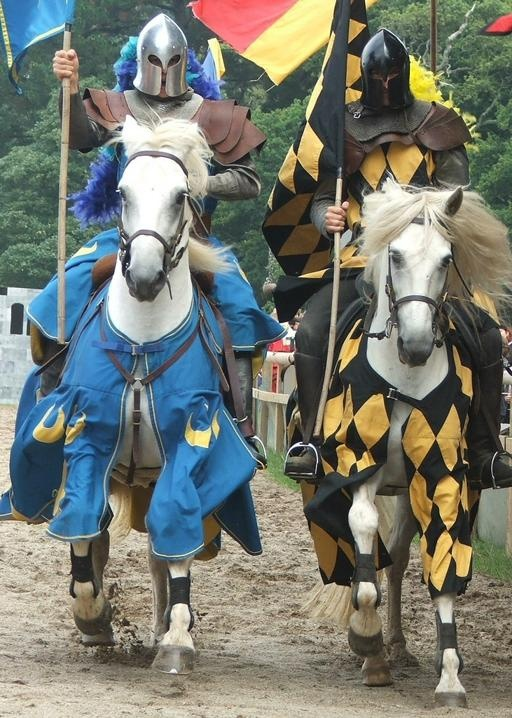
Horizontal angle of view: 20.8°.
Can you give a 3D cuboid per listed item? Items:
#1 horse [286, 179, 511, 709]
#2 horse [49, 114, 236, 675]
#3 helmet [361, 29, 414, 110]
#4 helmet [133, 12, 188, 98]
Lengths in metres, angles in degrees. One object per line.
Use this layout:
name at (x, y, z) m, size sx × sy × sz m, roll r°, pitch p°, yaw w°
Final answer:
horse at (0.664, 0.340, 6.442) m, size 0.799 × 2.330 × 1.293 m, roll 6°, pitch -1°, yaw 3°
horse at (-0.466, 0.149, 6.383) m, size 0.588 × 2.496 × 1.187 m, roll 6°, pitch -1°, yaw -6°
helmet at (0.651, -1.473, 7.023) m, size 0.310 × 0.349 × 0.275 m, roll -3°, pitch 23°, yaw 3°
helmet at (-0.471, -1.521, 6.921) m, size 0.227 × 0.426 × 0.168 m, roll 6°, pitch -1°, yaw 23°
